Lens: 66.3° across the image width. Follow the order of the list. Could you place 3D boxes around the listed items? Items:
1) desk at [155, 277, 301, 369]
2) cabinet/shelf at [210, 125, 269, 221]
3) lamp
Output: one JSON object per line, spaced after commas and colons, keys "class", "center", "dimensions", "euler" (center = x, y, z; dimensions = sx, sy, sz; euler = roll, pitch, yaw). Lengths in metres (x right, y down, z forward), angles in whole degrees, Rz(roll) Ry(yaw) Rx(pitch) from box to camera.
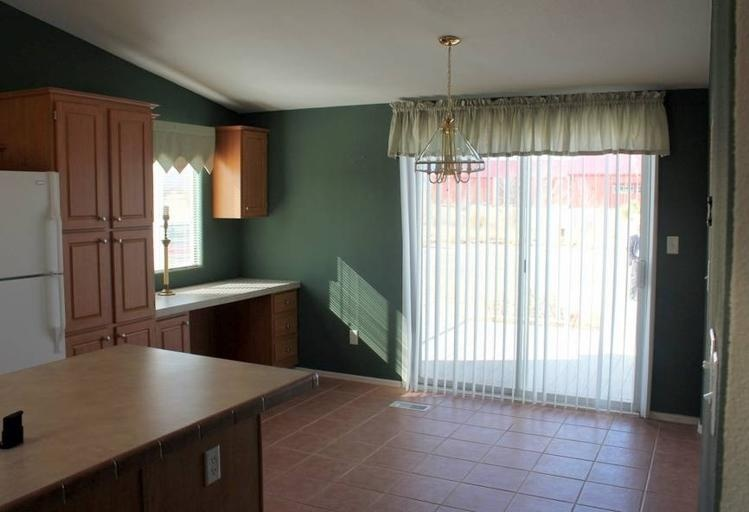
{"class": "desk", "center": [-1.515, 0.773, 5.658], "dimensions": [1.506, 0.887, 0.850], "euler": [-9, 10, -36]}
{"class": "cabinet/shelf", "center": [-1.416, -0.874, 6.084], "dimensions": [0.508, 0.918, 0.566], "euler": [8, 11, 39]}
{"class": "lamp", "center": [0.551, -1.080, 4.295], "dimensions": [0.449, 1.096, 1.312], "euler": [1, 9, 5]}
